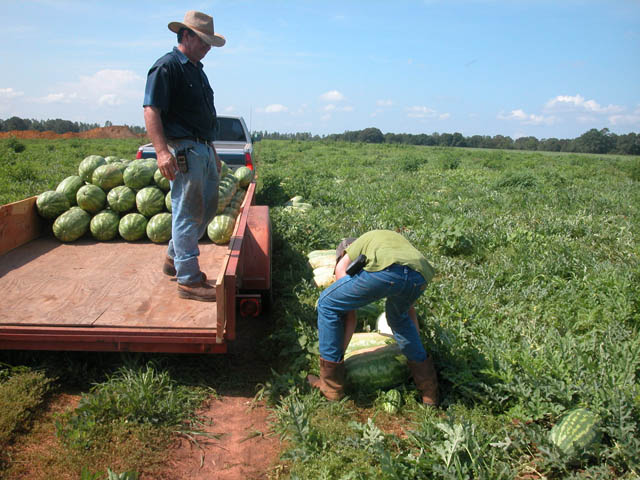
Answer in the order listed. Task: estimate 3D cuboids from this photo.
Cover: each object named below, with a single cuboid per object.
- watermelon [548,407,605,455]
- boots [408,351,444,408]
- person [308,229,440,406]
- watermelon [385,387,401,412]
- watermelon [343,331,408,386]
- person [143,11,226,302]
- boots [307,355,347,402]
[{"bbox_3d":[2.136,1.595,3.754,0.463,0.216,0.266,-10,20,-30],"label":"watermelon"},{"bbox_3d":[1.054,1.406,4.513,0.187,0.596,0.388,-12,-16,16],"label":"boots"},{"bbox_3d":[0.582,0.757,4.413,1.206,1.616,0.514,2,17,5],"label":"person"},{"bbox_3d":[0.717,1.566,4.393,0.127,0.201,0.115,3,-24,9],"label":"watermelon"},{"bbox_3d":[0.541,1.277,4.946,0.829,0.340,0.920,5,13,-24],"label":"watermelon"},{"bbox_3d":[-1.412,-0.886,4.785,0.732,2.879,0.998,-1,17,-6],"label":"person"},{"bbox_3d":[0.100,1.344,4.564,0.222,0.371,0.492,-9,22,-40],"label":"boots"}]
